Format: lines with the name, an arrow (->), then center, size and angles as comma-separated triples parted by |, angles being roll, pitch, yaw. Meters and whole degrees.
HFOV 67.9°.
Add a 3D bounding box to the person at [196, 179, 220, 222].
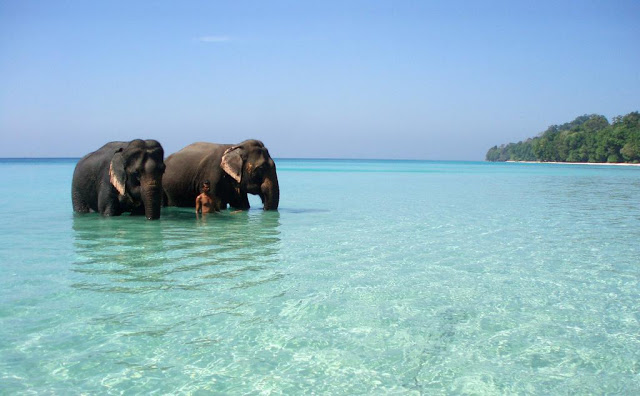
person -> -5.440, -0.064, 22.738 | 1.022, 1.607, 1.365 | 0, 10, -9
